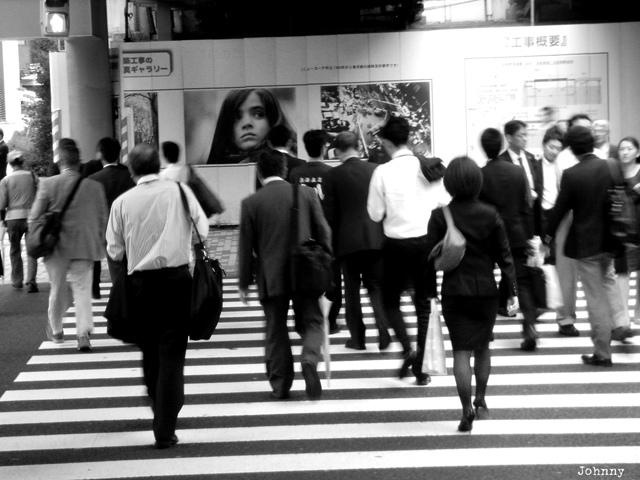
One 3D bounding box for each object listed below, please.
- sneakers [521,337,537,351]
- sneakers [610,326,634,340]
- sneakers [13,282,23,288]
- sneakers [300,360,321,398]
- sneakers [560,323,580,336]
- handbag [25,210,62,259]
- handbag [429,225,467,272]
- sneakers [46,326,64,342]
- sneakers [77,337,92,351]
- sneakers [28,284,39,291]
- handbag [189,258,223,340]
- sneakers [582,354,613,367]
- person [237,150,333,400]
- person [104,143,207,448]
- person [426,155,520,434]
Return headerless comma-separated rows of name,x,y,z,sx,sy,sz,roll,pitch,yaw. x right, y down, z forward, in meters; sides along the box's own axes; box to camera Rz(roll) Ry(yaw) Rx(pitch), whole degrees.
sneakers,2.424,1.206,8.118,0.165,0.168,0.125,-5,-10,22
sneakers,3.484,1.083,8.096,0.137,0.184,0.419,0,-10,5
sneakers,-5.471,0.816,12.686,0.136,0.145,0.086,3,-2,9
sneakers,-0.085,1.279,6.424,0.125,0.375,0.143,-14,10,-4
sneakers,3.130,1.121,8.775,0.201,0.153,0.139,-3,3,10
handbag,-3.253,-0.061,8.288,0.228,0.299,0.431,21,35,-17
handbag,1.053,0.065,5.700,0.198,0.459,0.234,18,8,-14
sneakers,-3.381,1.201,8.924,0.117,0.153,0.325,0,9,-25
sneakers,-2.913,1.262,8.704,0.136,0.214,0.211,1,30,-14
sneakers,-5.068,0.858,12.350,0.204,0.115,0.138,-8,11,-38
handbag,-0.900,0.466,5.465,0.255,0.620,0.186,-3,7,-15
sneakers,2.987,1.302,7.596,0.117,0.144,0.329,-6,11,-32
person,-0.317,0.374,6.541,0.863,2.398,0.567,-1,6,5
person,-1.295,0.477,5.611,0.698,2.432,0.444,0,7,18
person,1.266,0.463,5.841,0.668,2.282,0.366,-4,7,-24
